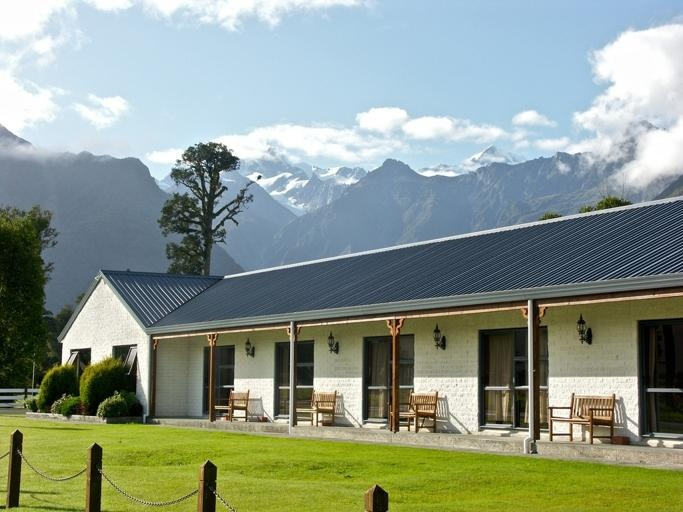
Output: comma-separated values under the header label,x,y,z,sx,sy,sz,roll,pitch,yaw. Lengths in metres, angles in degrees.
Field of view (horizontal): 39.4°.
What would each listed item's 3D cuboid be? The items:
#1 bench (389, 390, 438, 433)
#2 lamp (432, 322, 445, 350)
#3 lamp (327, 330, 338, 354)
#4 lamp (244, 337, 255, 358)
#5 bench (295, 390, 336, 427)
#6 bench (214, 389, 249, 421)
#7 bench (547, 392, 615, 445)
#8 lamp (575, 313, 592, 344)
label,x,y,z,sx,sy,sz,roll,pitch,yaw
bench,1.847,4.023,24.843,0.811,1.113,1.397,7,-10,-32
lamp,2.545,2.108,24.939,0.235,0.638,0.378,-13,8,-19
lamp,-0.247,2.512,27.604,0.191,0.611,0.483,-14,8,-27
lamp,-2.911,2.894,30.260,0.134,0.600,0.506,-15,8,-36
bench,-0.916,4.451,27.686,1.364,1.013,0.633,-2,-1,28
bench,-3.414,4.741,30.444,0.945,0.628,2.465,-15,8,-19
bench,5.462,3.676,21.808,0.916,1.260,1.427,9,-10,-32
lamp,5.637,1.740,22.149,0.337,0.594,0.177,-8,7,17
